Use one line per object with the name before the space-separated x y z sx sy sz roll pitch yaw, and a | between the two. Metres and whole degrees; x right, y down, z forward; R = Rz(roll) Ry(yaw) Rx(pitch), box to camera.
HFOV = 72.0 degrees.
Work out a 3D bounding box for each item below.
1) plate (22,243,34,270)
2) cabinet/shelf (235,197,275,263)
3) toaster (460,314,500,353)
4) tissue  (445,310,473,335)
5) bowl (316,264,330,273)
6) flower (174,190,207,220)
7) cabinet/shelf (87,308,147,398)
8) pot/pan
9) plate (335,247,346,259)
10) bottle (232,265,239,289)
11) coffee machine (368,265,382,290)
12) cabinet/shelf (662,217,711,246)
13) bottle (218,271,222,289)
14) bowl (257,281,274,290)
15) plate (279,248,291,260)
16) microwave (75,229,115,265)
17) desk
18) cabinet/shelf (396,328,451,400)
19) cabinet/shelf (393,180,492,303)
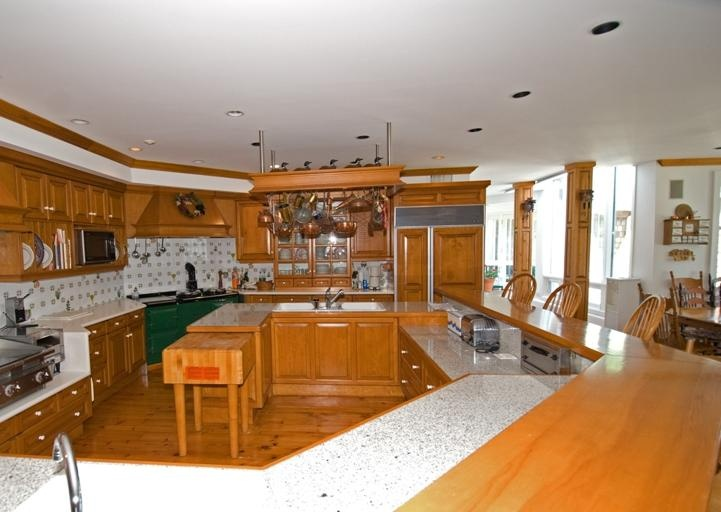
plate | -3.243 0.006 4.817 0.044 0.257 0.125 2 15 17
cabinet/shelf | -1.478 -0.353 7.773 0.772 0.979 0.639 1 1 18
toaster | 1.015 0.658 4.248 0.309 0.235 0.370 -2 4 -12
tissue  | 0.904 0.615 4.523 0.218 0.145 0.344 1 2 -5
bowl | -0.587 0.204 7.613 0.184 0.100 0.164 1 -4 -13
flower | -2.331 -0.691 6.779 0.399 0.364 0.208 -7 15 -22
cabinet/shelf | -2.746 1.096 5.518 0.450 0.794 1.035 -2 3 -7
pot/pan | -0.347 -0.379 4.515 1.218 0.471 0.400 -1 13 2
plate | -0.309 -0.048 7.584 0.228 0.177 0.028 2 10 6
bottle | -1.951 0.338 7.666 0.115 0.313 0.266 -5 13 -14
coffee machine | 0.225 0.330 7.605 0.191 0.334 0.416 -1 12 2
cabinet/shelf | 4.723 -0.360 7.154 0.531 0.287 0.181 0 0 4
bottle | -2.156 0.367 7.571 0.074 0.247 0.164 -4 14 -9
bowl | -1.467 0.450 7.581 0.200 0.069 0.139 -1 1 6
plate | -1.173 -0.030 7.628 0.206 0.109 0.182 -1 0 -8
microwave | -3.245 -0.093 5.852 0.406 0.381 0.644 -3 2 4
desk | -1.314 1.145 4.308 0.904 1.008 1.141 1 3 2
cabinet/shelf | 0.554 0.920 4.296 0.351 0.442 0.880 0 2 -4
cabinet/shelf | 1.113 -0.209 6.949 1.283 1.649 0.580 0 14 6
